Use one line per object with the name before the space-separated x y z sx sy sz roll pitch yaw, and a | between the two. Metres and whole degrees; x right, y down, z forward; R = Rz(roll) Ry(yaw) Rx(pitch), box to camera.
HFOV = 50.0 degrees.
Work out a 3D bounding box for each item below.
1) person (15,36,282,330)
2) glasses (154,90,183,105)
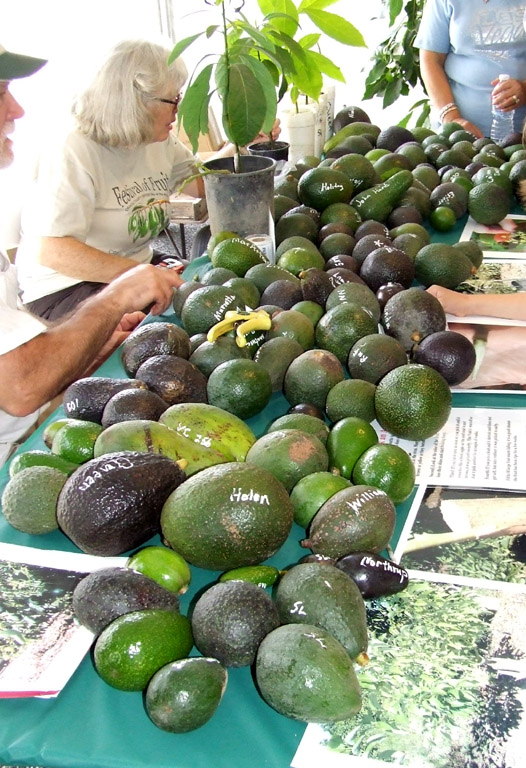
person | -0.516 -0.824 2.560 0.837 1.294 1.071 38 45 22
glasses | -0.374 -1.162 2.282 0.082 0.023 0.073 7 49 7
